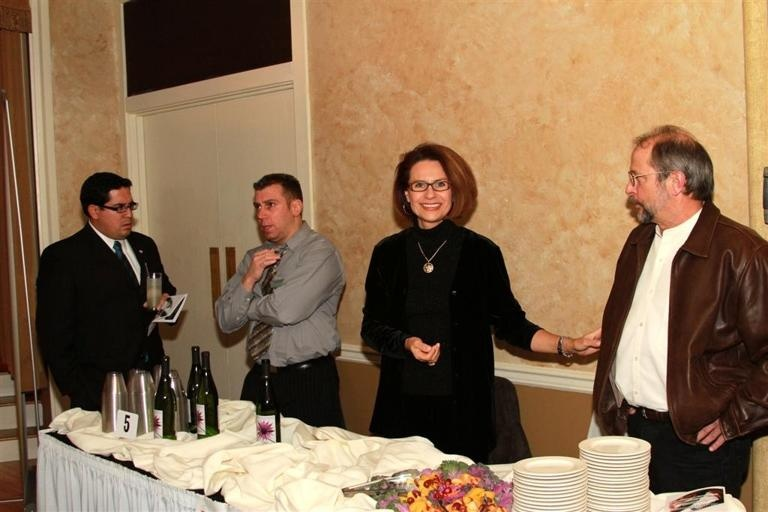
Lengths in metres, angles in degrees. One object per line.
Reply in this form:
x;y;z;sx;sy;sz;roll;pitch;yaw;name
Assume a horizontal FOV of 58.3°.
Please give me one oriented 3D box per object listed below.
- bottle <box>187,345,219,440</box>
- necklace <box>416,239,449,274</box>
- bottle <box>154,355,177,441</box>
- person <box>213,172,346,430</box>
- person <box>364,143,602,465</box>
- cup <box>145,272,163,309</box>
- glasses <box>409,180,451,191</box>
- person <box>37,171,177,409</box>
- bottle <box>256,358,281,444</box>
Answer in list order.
-0.870;0.663;3.340;0.139;0.325;0.294;-3;1;-17;bottle
0.268;0.003;3.714;0.167;0.213;0.016;2;-6;22;necklace
-1.076;0.685;3.358;0.146;0.328;0.069;-2;2;25;bottle
-0.606;0.261;4.145;0.729;1.063;0.559;-2;1;-1;person
0.364;0.239;3.681;0.981;1.700;0.403;-2;1;5;person
-1.336;0.195;4.020;0.082;0.173;0.075;-2;1;0;cup
0.246;-0.375;3.692;0.209;0.059;0.030;-2;1;4;glasses
-1.767;0.194;4.322;0.748;1.283;0.401;-3;2;-28;person
-0.547;0.664;3.244;0.115;0.281;0.243;-3;1;-9;bottle
